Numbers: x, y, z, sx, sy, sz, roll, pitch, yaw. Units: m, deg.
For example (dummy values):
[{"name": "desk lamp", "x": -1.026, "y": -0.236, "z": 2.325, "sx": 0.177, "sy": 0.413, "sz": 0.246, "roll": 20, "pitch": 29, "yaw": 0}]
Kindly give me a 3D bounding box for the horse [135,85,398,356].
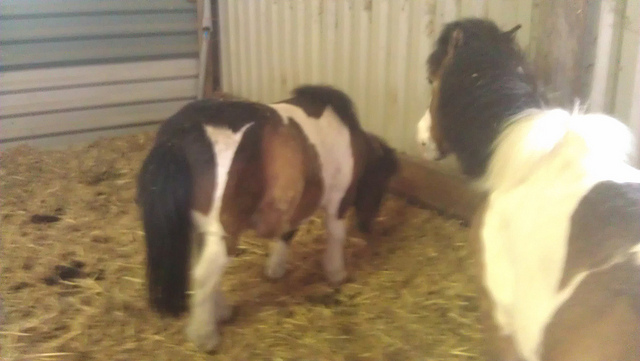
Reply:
[{"name": "horse", "x": -0.427, "y": 0.226, "z": 4.964, "sx": 1.725, "sy": 1.670, "sz": 0.668, "roll": -11, "pitch": 25, "yaw": -32}]
